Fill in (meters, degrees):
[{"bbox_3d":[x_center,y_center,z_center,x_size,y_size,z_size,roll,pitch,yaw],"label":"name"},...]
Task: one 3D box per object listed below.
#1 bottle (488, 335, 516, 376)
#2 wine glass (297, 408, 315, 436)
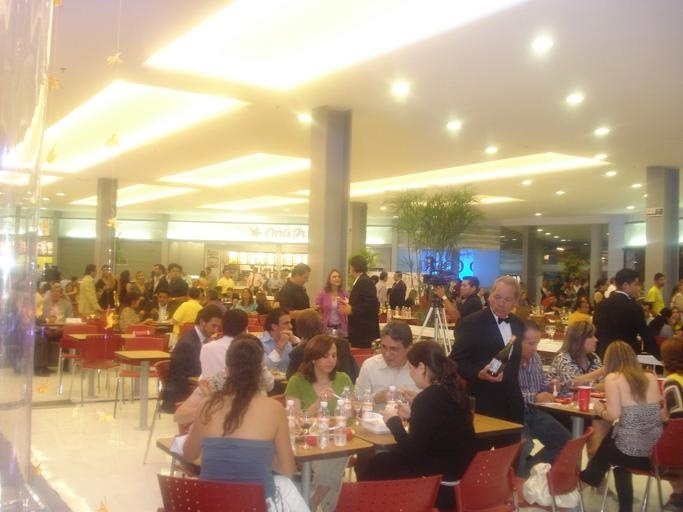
[{"bbox_3d":[1.219,0.756,4.173,0.122,0.235,0.302,-2,1,43],"label":"bottle"},{"bbox_3d":[-0.239,1.148,3.756,0.093,0.148,0.101,2,2,41],"label":"wine glass"}]
